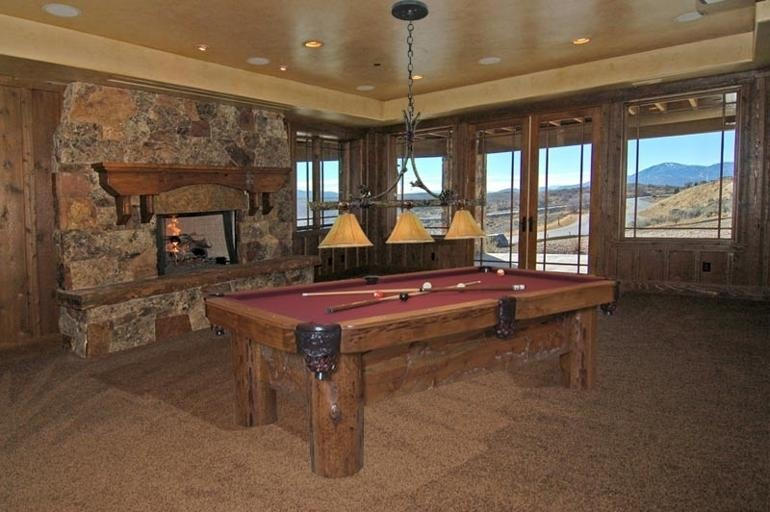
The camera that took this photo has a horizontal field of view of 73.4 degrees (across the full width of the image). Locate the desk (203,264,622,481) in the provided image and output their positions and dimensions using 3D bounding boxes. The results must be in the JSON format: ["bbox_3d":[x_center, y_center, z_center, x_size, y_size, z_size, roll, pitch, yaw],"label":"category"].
[{"bbox_3d":[0.307,0.778,4.277,3.117,1.203,1.351,-3,6,-28],"label":"desk"}]

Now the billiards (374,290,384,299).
[{"bbox_3d":[-0.041,0.299,3.934,0.062,0.034,0.055,1,-1,-9],"label":"billiards"}]
